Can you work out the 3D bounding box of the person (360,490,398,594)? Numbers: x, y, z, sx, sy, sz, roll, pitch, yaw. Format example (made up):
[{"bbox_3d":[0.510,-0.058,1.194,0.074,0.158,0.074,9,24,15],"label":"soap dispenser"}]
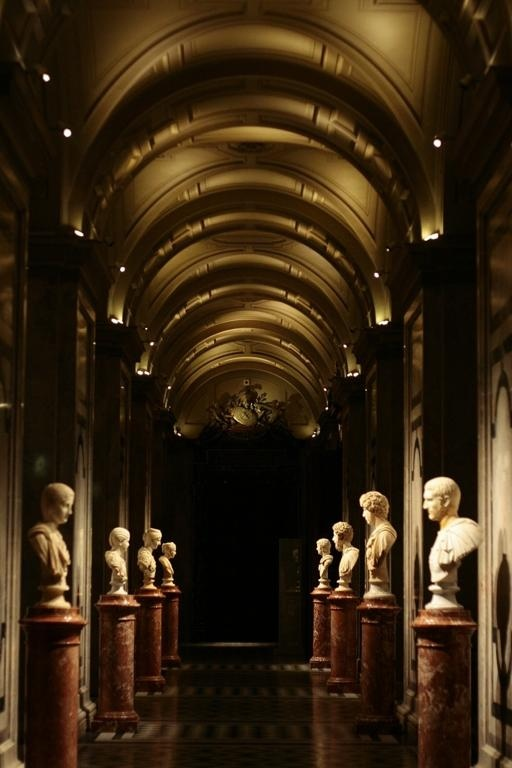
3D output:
[{"bbox_3d":[1.224,1.595,7.138,0.314,1.081,0.774,-1,-12,9],"label":"person"}]

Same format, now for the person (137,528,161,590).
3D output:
[{"bbox_3d":[-1.712,2.813,11.492,0.308,0.973,1.297,2,-13,-8],"label":"person"}]
